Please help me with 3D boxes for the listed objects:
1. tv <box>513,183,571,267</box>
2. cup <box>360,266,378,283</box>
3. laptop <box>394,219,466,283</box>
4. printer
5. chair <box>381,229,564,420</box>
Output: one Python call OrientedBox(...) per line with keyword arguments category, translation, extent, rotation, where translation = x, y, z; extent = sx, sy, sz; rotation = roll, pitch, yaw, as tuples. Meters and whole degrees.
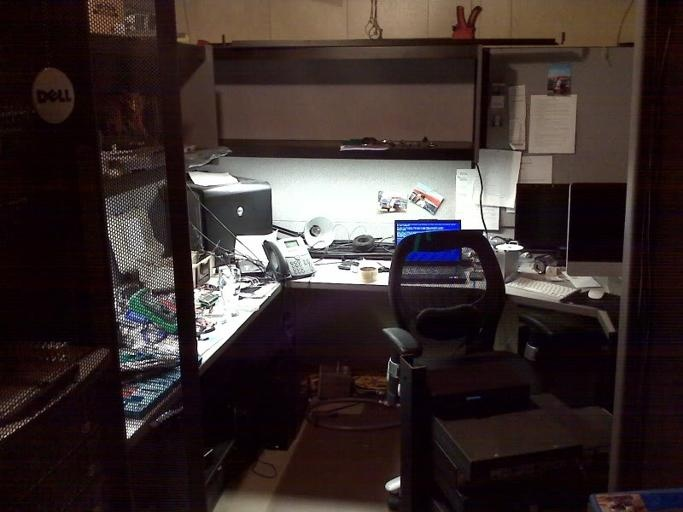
OrientedBox(category="tv", translation=(0.931, -0.155, 2.692), extent=(0.373, 0.427, 0.049), rotation=(2, 7, 10))
OrientedBox(category="cup", translation=(0.122, 0.080, 2.584), extent=(0.051, 0.054, 0.077), rotation=(-4, 11, -18))
OrientedBox(category="laptop", translation=(0.414, 0.006, 2.697), extent=(0.352, 0.336, 0.283), rotation=(0, 2, 3))
OrientedBox(category="printer", translation=(-0.519, -0.204, 2.763), extent=(0.393, 0.561, 0.542), rotation=(-2, 22, -14))
OrientedBox(category="chair", translation=(0.425, 0.200, 2.340), extent=(0.644, 0.922, 0.618), rotation=(-3, 5, -7))
